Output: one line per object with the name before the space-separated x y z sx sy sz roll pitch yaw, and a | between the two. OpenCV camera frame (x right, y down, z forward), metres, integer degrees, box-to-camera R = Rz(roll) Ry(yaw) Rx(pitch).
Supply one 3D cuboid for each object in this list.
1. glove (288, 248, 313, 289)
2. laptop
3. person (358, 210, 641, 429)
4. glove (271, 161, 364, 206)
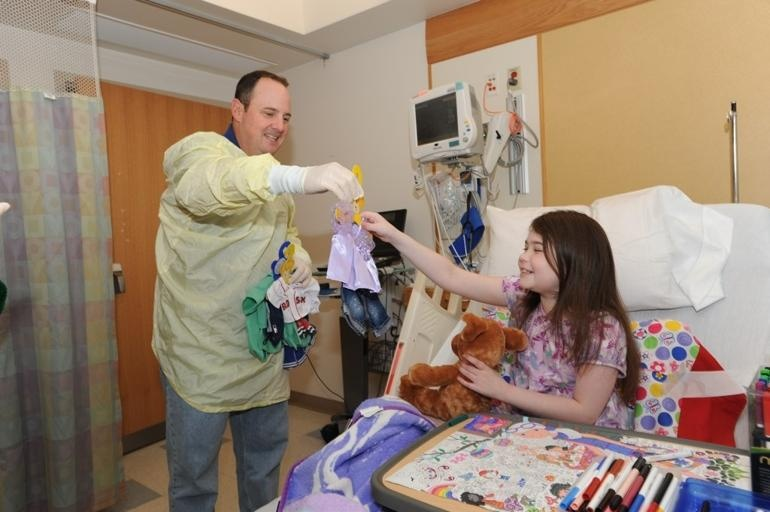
glove | -0.413 0.053 2.715 0.107 0.154 0.068 0 -19 -14
laptop | -0.166 -0.092 4.068 0.443 0.623 0.628 1 0 -33
person | 0.430 0.245 2.652 1.146 0.968 0.770 0 0 -11
glove | -0.280 -0.262 2.140 0.247 0.099 0.169 -1 32 -7
